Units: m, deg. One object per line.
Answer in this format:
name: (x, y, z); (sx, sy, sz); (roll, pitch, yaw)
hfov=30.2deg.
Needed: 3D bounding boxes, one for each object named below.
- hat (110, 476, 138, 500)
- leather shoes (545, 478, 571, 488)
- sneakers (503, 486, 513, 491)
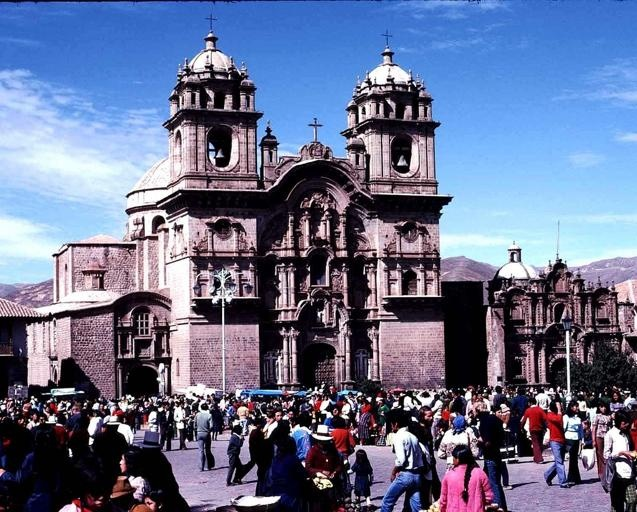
hat: (-3.267, 3.889, 19.707); (0.387, 0.371, 0.268); (1, -10, -9)
leather shoes: (5.985, 5.768, 29.873); (0.700, 0.271, 0.223); (-13, -15, 43)
sneakers: (4.767, 5.875, 29.727); (0.188, 0.055, 0.126); (0, -2, -15)
